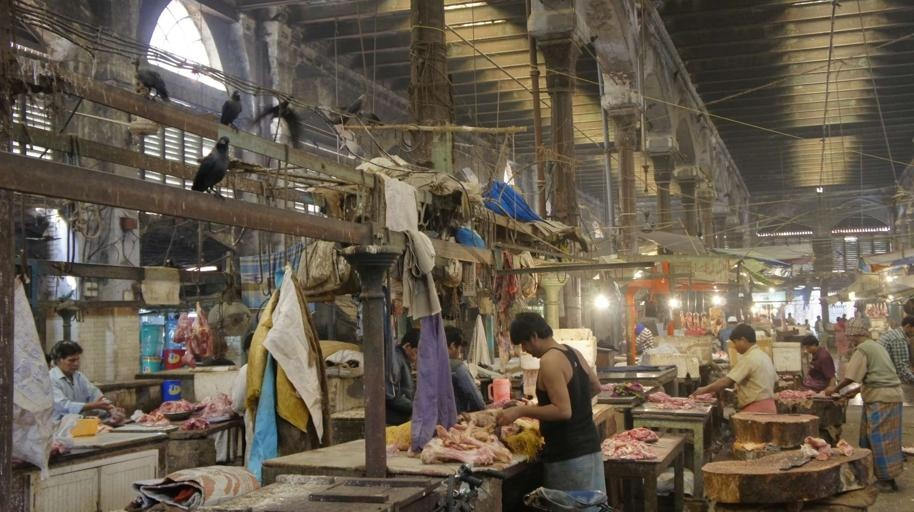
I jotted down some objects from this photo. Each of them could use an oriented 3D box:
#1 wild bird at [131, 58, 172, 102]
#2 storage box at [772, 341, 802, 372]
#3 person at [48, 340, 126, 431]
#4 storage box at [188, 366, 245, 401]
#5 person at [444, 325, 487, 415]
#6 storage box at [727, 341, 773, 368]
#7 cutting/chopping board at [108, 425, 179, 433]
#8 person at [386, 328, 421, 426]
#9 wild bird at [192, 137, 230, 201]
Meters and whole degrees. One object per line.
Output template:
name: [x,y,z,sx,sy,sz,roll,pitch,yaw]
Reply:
wild bird: [-6.775,-3.727,22.847,0.673,0.820,1.376,1,-7,-14]
storage box: [9.106,2.829,28.750,0.832,0.777,0.812,1,-5,-18]
person: [-8.219,2.874,22.637,1.415,2.345,1.094,1,-1,-23]
storage box: [-5.850,3.037,24.896,1.279,0.792,1.290,-1,-5,4]
person: [0.163,2.474,22.316,0.764,1.828,0.755,1,0,-11]
storage box: [7.991,2.648,28.447,1.208,0.750,1.247,-3,-6,22]
cutting/chopping board: [-6.720,3.727,22.204,1.300,0.169,0.608,-3,-7,11]
person: [-1.185,2.594,22.162,0.691,2.043,1.243,-3,-6,16]
wild bird: [-4.823,-1.705,20.185,0.643,1.363,0.553,2,-2,4]
